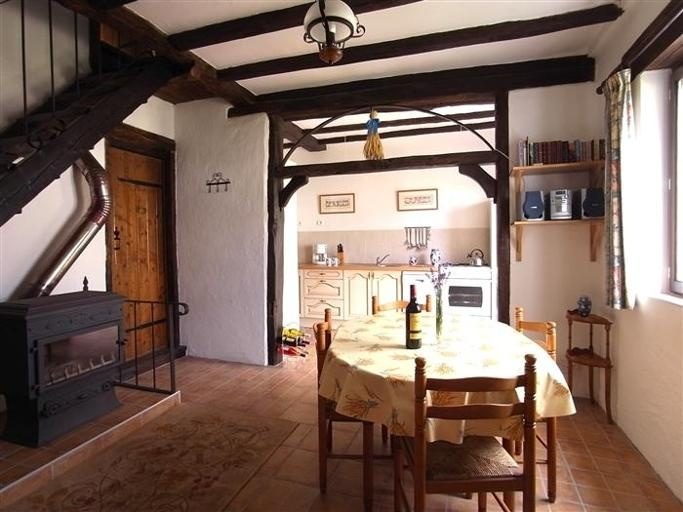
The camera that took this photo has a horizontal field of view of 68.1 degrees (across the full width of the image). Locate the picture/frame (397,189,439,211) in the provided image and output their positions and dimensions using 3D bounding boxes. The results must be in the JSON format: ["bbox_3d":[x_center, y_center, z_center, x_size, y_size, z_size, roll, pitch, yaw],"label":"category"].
[{"bbox_3d":[1.172,-0.851,7.759,0.632,0.342,0.098,0,1,11],"label":"picture/frame"}]

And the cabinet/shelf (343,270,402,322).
[{"bbox_3d":[0.420,0.484,6.538,0.734,0.642,0.283,-1,-3,19],"label":"cabinet/shelf"}]

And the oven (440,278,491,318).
[{"bbox_3d":[1.690,0.513,6.911,0.811,0.671,0.443,0,-2,22],"label":"oven"}]

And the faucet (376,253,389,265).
[{"bbox_3d":[0.644,0.058,8.009,0.225,0.140,0.131,-17,-5,18],"label":"faucet"}]

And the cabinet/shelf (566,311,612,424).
[{"bbox_3d":[2.273,0.979,4.654,0.388,0.936,0.541,1,2,25],"label":"cabinet/shelf"}]

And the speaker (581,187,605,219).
[{"bbox_3d":[2.273,-0.471,4.583,0.182,0.274,0.057,1,2,25],"label":"speaker"}]

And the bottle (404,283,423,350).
[{"bbox_3d":[0.521,0.433,3.655,0.117,0.458,0.210,0,1,8],"label":"bottle"}]

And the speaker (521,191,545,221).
[{"bbox_3d":[1.848,-0.465,4.787,0.245,0.278,0.128,-1,2,-23],"label":"speaker"}]

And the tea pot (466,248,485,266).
[{"bbox_3d":[1.962,0.025,7.398,0.184,0.253,0.269,5,-7,-42],"label":"tea pot"}]

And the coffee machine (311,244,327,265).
[{"bbox_3d":[-0.351,-0.029,8.225,0.253,0.319,0.462,0,1,-3],"label":"coffee machine"}]
